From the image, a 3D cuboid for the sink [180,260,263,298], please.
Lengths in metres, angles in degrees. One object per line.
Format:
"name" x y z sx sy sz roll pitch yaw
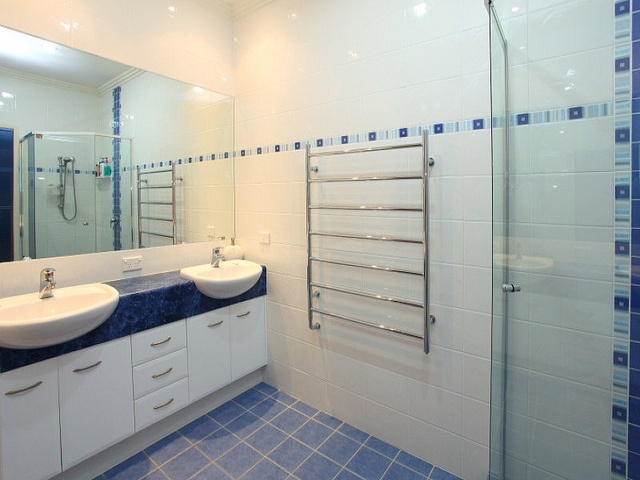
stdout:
"sink" -0.684 0.291 3.205 0.552 0.226 0.570 -5 9 -7
